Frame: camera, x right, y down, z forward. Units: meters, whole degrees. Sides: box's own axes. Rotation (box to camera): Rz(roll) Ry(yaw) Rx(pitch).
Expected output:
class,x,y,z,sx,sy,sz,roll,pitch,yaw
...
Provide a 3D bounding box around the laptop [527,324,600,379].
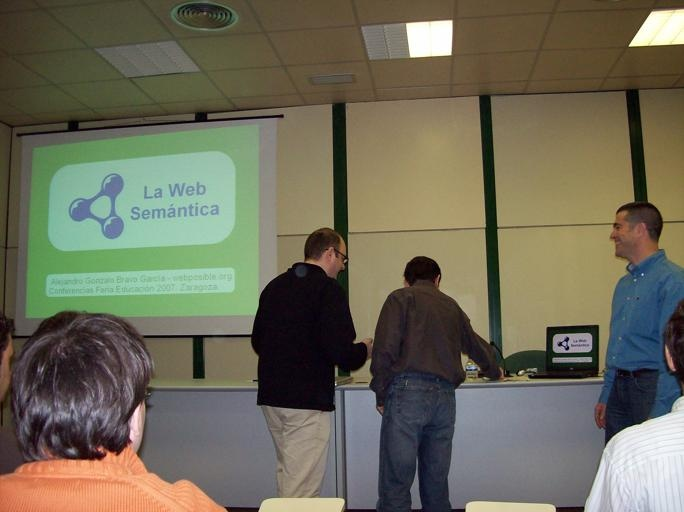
class,x,y,z,sx,sy,sz,roll,pitch,yaw
laptop,1.723,0.726,4.766,0.474,0.464,0.388,-3,-10,29

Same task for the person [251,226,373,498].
class,x,y,z,sx,sy,sz,roll,pitch,yaw
person,-0.204,0.751,3.857,0.666,1.416,0.221,-1,-4,2
